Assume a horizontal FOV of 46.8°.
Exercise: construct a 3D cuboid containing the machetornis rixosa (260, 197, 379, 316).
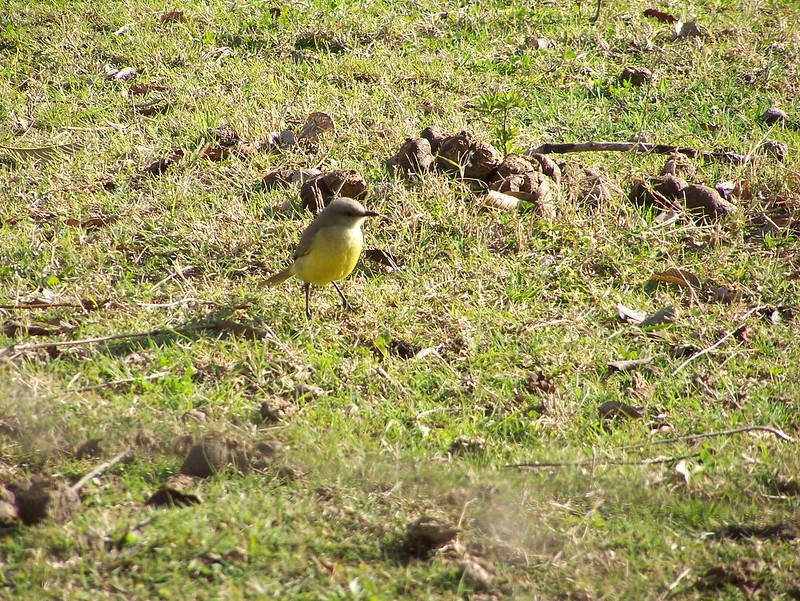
[{"bbox_3d":[-0.565,-0.320,6.445,0.996,0.438,0.819,10,101,41],"label":"machetornis rixosa"}]
